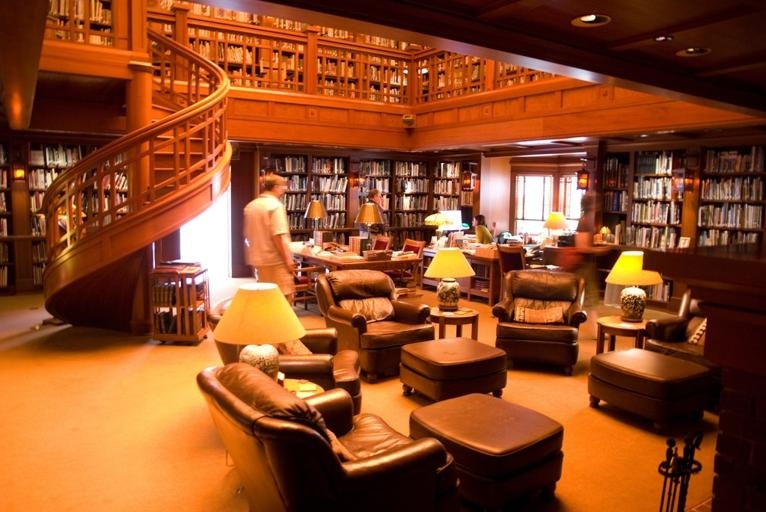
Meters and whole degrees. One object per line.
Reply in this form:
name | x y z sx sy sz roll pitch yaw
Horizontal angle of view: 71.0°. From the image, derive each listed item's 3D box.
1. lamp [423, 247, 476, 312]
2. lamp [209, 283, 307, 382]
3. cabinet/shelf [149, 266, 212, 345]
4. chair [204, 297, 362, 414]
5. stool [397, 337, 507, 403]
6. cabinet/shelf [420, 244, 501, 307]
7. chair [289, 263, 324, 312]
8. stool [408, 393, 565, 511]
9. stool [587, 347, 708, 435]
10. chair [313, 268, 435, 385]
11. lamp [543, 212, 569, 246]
lamp | 0.763 0.262 6.592 0.768 0.716 0.724 -2 7 -6
lamp | -0.943 0.549 4.212 0.740 0.657 0.692 -3 7 -19
cabinet/shelf | -2.683 0.664 7.173 0.672 0.916 0.583 -1 3 -14
chair | -0.970 1.024 5.185 1.474 1.114 1.128 4 6 0
stool | 0.710 1.235 5.710 1.117 0.465 1.079 0 5 -3
cabinet/shelf | 1.427 0.323 9.716 0.538 0.759 1.707 -4 10 -40
chair | -1.300 0.489 8.857 0.489 0.641 0.577 0 -5 14
stool | 0.861 1.393 4.089 0.835 0.481 0.832 -2 6 -31
stool | 2.616 1.277 5.346 0.884 0.487 0.884 -4 9 -31
chair | -0.103 0.754 6.434 1.164 1.009 1.317 -6 9 -43
lamp | 3.236 -0.492 10.081 0.437 0.594 0.420 -1 2 18
